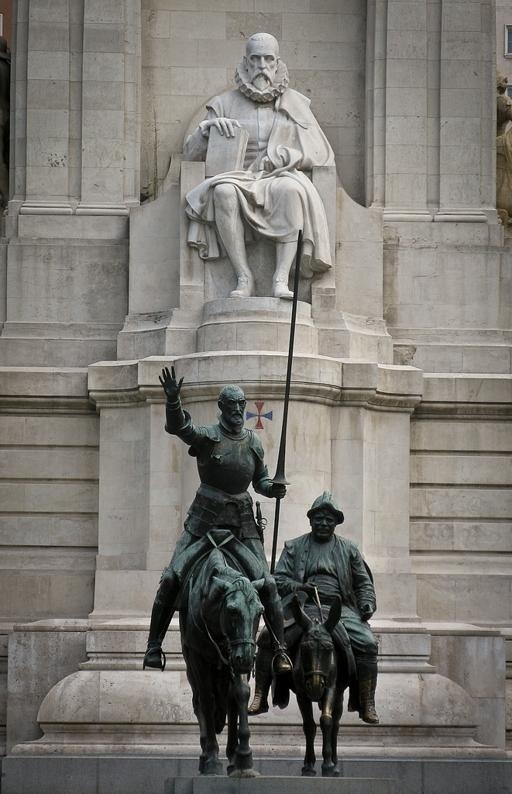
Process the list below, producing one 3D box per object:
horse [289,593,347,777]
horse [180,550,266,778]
[{"bbox_3d":[0.683,2.997,28.810,0.610,1.866,1.173,2,-4,2],"label":"horse"},{"bbox_3d":[-0.341,2.665,28.080,0.664,2.337,1.571,3,-4,-14],"label":"horse"}]
